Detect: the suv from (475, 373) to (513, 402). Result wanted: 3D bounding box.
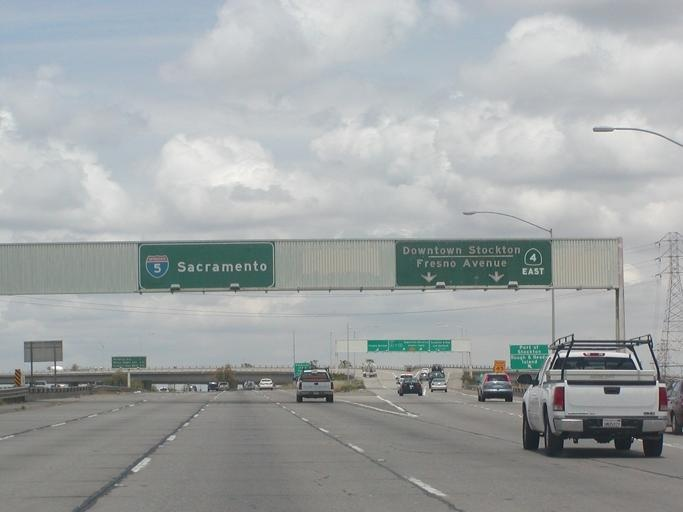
[{"bbox_3d":[8.719,7.519,64.765,1.819,1.665,2.322,-2,-6,3],"label":"suv"}]

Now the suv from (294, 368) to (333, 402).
[{"bbox_3d":[-1.494,7.318,63.716,1.983,1.884,2.125,-2,-6,-3],"label":"suv"}]

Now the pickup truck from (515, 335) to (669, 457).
[{"bbox_3d":[6.753,3.831,31.015,3.262,3.058,6.022,0,-6,0],"label":"pickup truck"}]
